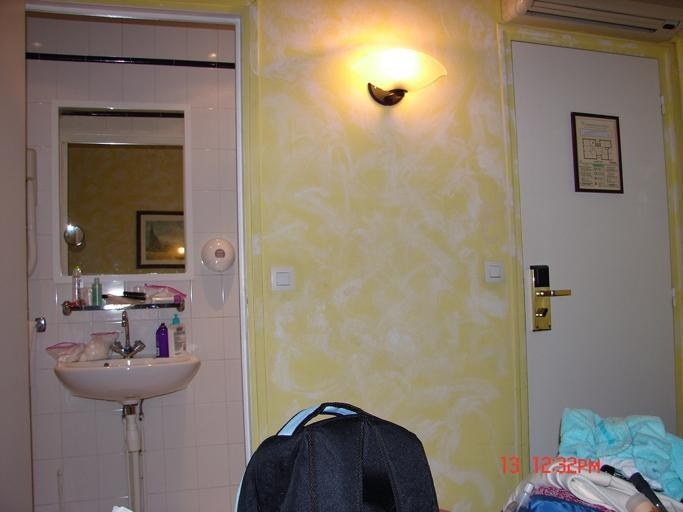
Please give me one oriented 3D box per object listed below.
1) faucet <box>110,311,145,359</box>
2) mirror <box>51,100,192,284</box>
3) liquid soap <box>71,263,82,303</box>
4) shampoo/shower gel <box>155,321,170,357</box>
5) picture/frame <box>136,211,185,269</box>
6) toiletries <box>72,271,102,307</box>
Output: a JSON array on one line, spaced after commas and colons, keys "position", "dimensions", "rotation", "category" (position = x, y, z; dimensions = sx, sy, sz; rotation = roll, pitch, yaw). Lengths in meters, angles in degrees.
[{"position": [-1.221, 0.464, 3.184], "dimensions": [0.216, 0.331, 0.123], "rotation": [-2, 5, -5], "category": "faucet"}, {"position": [-1.313, -0.362, 3.283], "dimensions": [0.985, 1.479, 0.061], "rotation": [0, 0, -17], "category": "mirror"}, {"position": [-1.492, 0.163, 3.172], "dimensions": [0.050, 0.217, 0.105], "rotation": [-1, 0, -26], "category": "liquid soap"}, {"position": [-1.027, 0.491, 3.231], "dimensions": [0.063, 0.188, 0.078], "rotation": [-1, 0, -31], "category": "shampoo/shower gel"}, {"position": [-1.080, -0.079, 3.322], "dimensions": [0.304, 0.382, 0.015], "rotation": [-1, -2, -7], "category": "picture/frame"}, {"position": [-1.446, 0.192, 3.184], "dimensions": [0.206, 0.239, 0.131], "rotation": [0, -1, -2], "category": "toiletries"}]
